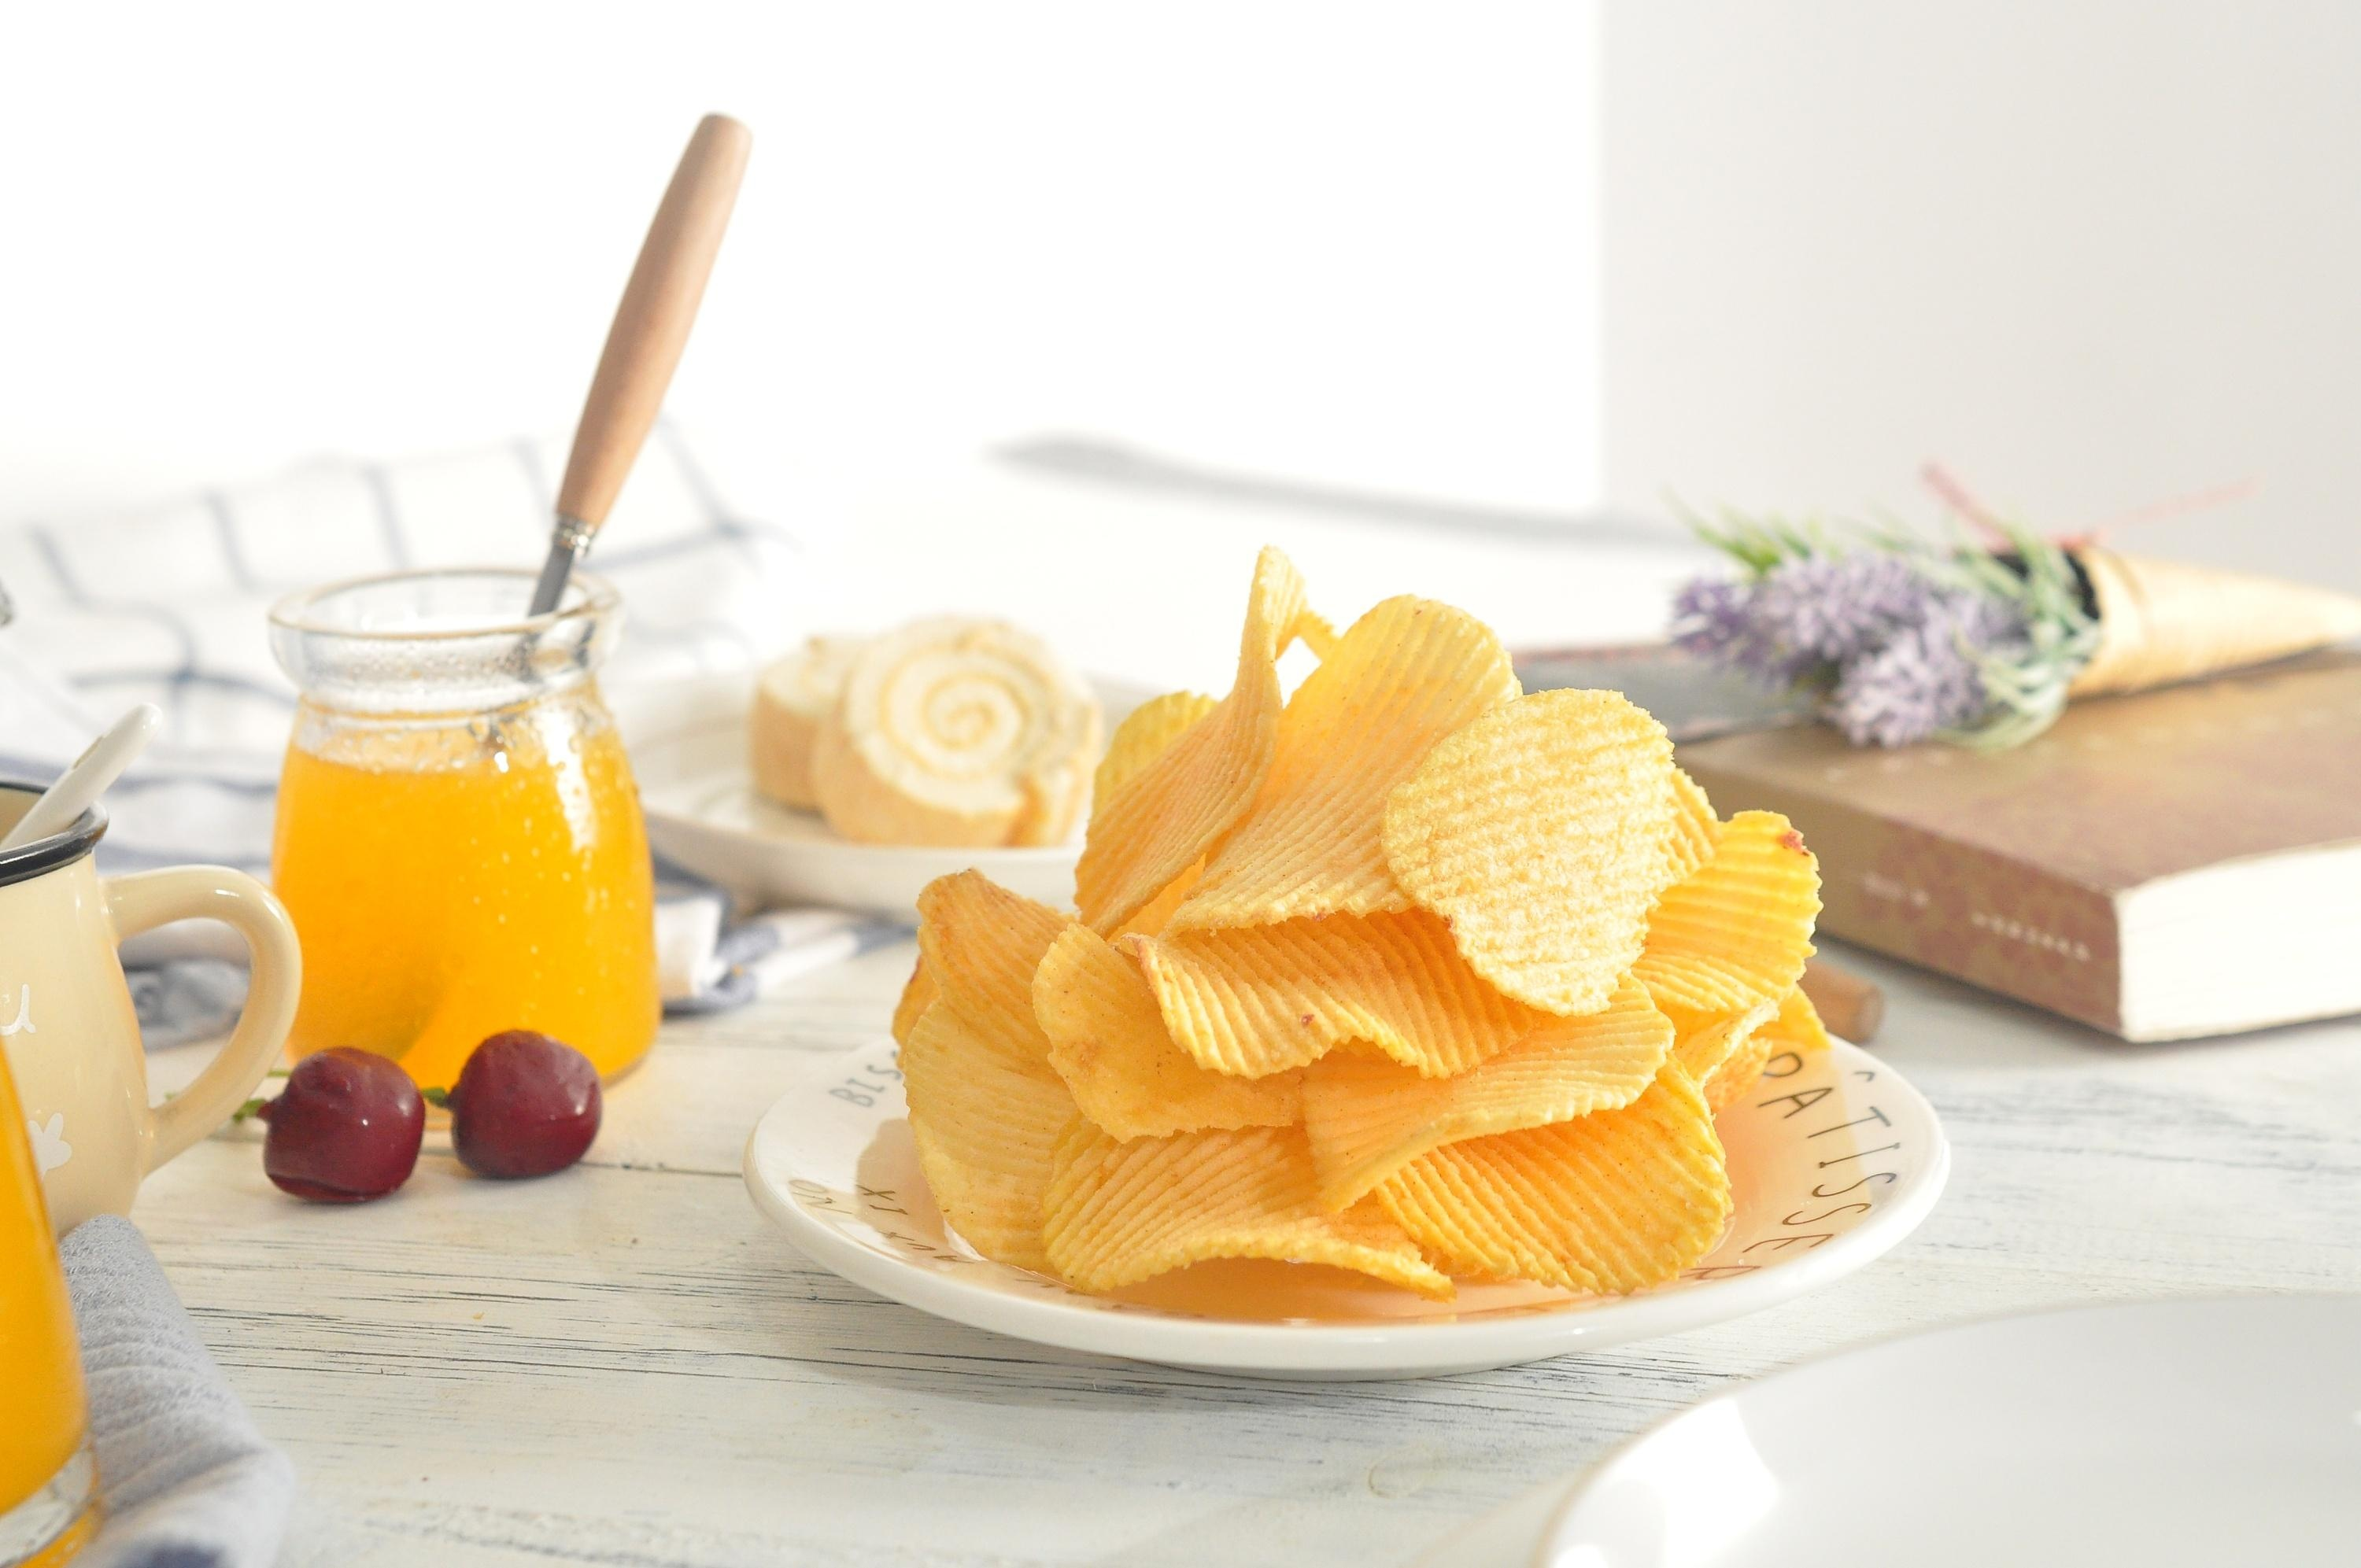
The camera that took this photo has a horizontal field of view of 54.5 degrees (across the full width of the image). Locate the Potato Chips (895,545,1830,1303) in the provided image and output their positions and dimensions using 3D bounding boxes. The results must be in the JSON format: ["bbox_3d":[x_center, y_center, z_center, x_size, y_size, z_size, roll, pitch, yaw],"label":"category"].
[{"bbox_3d":[0.047,0.050,0.760,0.298,0.173,0.220,13,37,15],"label":"Potato Chips"}]

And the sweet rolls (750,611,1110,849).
[{"bbox_3d":[-0.120,-0.036,1.187,0.208,0.109,0.124,-13,12,-43],"label":"sweet rolls"}]
